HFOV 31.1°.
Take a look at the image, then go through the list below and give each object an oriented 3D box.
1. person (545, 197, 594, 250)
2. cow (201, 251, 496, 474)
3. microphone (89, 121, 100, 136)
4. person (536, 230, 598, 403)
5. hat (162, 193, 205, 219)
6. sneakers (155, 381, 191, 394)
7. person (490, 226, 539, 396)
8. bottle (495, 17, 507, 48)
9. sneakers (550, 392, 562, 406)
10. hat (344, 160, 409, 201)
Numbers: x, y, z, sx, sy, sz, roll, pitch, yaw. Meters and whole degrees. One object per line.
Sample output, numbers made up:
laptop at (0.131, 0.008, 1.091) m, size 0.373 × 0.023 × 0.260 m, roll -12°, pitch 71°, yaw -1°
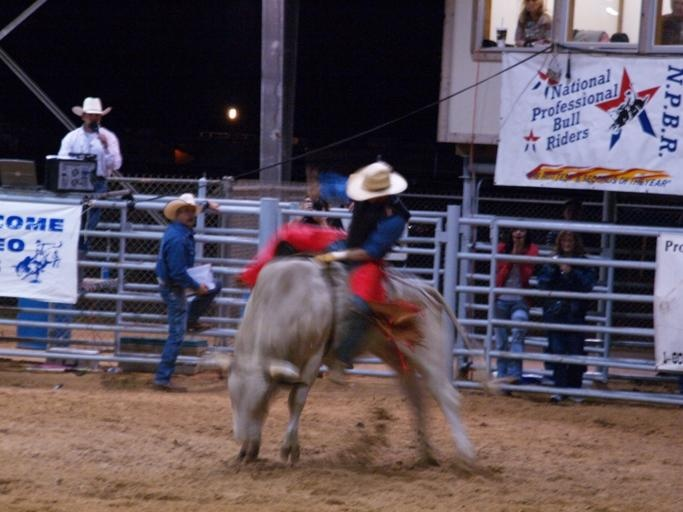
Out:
person at (3.384, -0.594, 18.639) m, size 0.704 × 0.398 × 1.091 m, roll 6°, pitch 18°, yaw 1°
cow at (-0.029, 1.279, 14.936) m, size 2.794 × 2.513 × 0.688 m, roll 5°, pitch -3°, yaw -20°
microphone at (-3.747, -1.979, 18.900) m, size 0.191 × 0.216 × 0.084 m, roll -5°, pitch 15°, yaw -9°
person at (3.130, 0.852, 17.359) m, size 0.764 × 2.393 × 0.635 m, roll 5°, pitch -3°, yaw 4°
hat at (-2.177, -0.705, 17.196) m, size 0.515 × 0.253 × 0.339 m, roll 4°, pitch -3°, yaw -6°
sneakers at (-2.357, 1.855, 17.406) m, size 0.453 × 0.161 × 0.152 m, roll -1°, pitch 4°, yaw 0°
person at (2.456, 0.788, 17.621) m, size 0.566 × 2.351 × 0.815 m, roll 5°, pitch -3°, yaw 7°
bottle at (2.501, -3.488, 19.138) m, size 0.210 × 0.450 × 0.094 m, roll 3°, pitch -4°, yaw 29°
sneakers at (3.025, 2.005, 17.319) m, size 0.175 × 0.125 × 0.247 m, roll 3°, pitch -3°, yaw 18°
hat at (0.425, -0.893, 14.866) m, size 0.638 × 0.474 × 0.218 m, roll -2°, pitch -40°, yaw 9°
